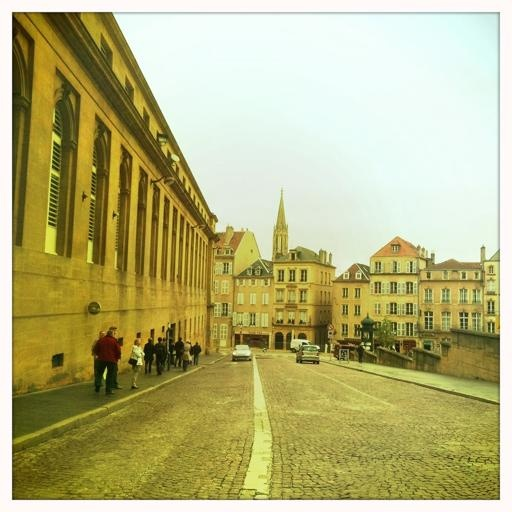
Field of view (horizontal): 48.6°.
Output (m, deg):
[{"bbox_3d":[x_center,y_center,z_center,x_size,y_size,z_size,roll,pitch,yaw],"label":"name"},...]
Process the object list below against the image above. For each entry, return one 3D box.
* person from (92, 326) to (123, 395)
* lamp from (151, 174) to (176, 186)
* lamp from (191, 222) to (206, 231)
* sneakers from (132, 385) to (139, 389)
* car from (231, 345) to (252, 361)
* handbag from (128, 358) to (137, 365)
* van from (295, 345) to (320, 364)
[{"bbox_3d":[-3.920,2.741,14.767,0.672,1.731,0.850,5,-9,-26],"label":"person"},{"bbox_3d":[-4.965,-4.145,30.885,0.811,0.572,0.592,-10,-2,4],"label":"lamp"},{"bbox_3d":[-5.203,-2.675,51.011,1.217,0.772,1.026,-3,1,14],"label":"lamp"},{"bbox_3d":[-3.518,3.860,16.656,0.186,0.103,0.403,-3,-12,24],"label":"sneakers"},{"bbox_3d":[-1.080,7.797,45.264,1.351,1.242,1.951,1,-10,2],"label":"car"},{"bbox_3d":[-3.650,3.174,16.879,0.170,0.225,0.207,3,-11,1],"label":"handbag"},{"bbox_3d":[3.681,6.924,39.438,0.894,1.106,1.907,1,-4,-2],"label":"van"}]
